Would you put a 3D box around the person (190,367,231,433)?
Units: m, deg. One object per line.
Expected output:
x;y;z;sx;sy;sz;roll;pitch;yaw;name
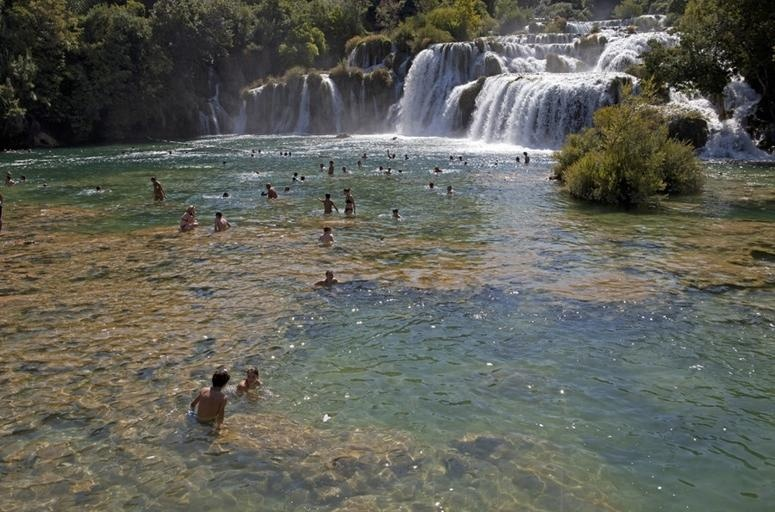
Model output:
-4.085;3.298;13.557;0.930;1.293;0.815;23;9;22;person

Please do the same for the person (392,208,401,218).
0.427;-2.036;26.909;0.760;0.397;0.785;1;1;4;person

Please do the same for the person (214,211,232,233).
-7.298;-1.467;25.061;0.743;0.980;0.613;-21;36;-34;person

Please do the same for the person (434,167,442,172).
3.410;-5.814;38.022;0.364;0.443;0.879;5;-3;5;person

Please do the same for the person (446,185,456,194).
3.572;-3.731;31.932;0.800;0.467;0.842;1;10;16;person

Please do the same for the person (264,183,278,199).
-6.382;-3.518;31.188;0.661;0.729;1.600;-2;11;-11;person

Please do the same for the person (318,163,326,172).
-4.664;-6.321;40.636;0.693;0.392;0.947;-5;18;0;person

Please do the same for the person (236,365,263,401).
-3.441;3.126;14.362;0.697;0.810;0.795;3;13;-14;person

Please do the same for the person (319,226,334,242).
-2.513;-0.889;23.258;0.504;0.845;0.451;8;23;7;person
